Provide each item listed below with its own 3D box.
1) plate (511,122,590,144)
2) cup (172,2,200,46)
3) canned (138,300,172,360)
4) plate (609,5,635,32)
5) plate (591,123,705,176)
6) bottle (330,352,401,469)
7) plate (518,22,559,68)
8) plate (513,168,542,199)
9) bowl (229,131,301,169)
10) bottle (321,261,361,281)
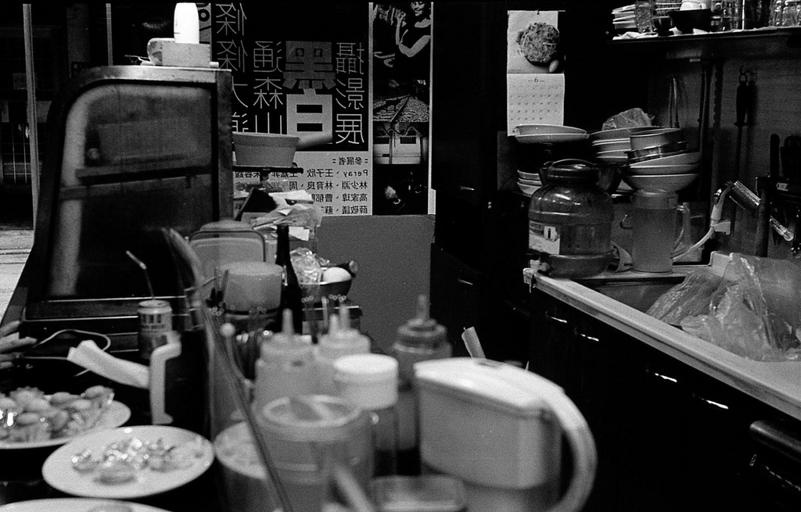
[{"bbox_3d":[0.733,-0.584,3.018,0.220,0.059,0.186,1,3,1],"label":"plate"},{"bbox_3d":[-0.847,-0.918,2.482,0.102,0.159,0.222,7,9,-21],"label":"cup"},{"bbox_3d":[-0.775,0.232,1.954,0.142,0.177,0.079,17,11,39],"label":"canned"},{"bbox_3d":[1.055,-1.113,2.944,0.111,0.042,0.133,-1,9,18],"label":"plate"},{"bbox_3d":[1.056,-0.462,2.747,0.331,0.106,0.312,-4,7,-14],"label":"plate"},{"bbox_3d":[-0.049,0.233,0.915,0.120,0.169,0.035,10,9,0],"label":"bottle"},{"bbox_3d":[0.747,-1.135,3.412,0.262,0.217,0.062,6,10,-23],"label":"plate"},{"bbox_3d":[0.649,-0.369,3.234,0.161,0.111,0.159,0,4,-10],"label":"plate"},{"bbox_3d":[-0.712,-0.552,3.536,0.420,0.161,0.324,5,-4,36],"label":"bowl"},{"bbox_3d":[-0.168,0.051,1.645,0.066,0.061,0.155,4,-8,-35],"label":"bottle"}]
